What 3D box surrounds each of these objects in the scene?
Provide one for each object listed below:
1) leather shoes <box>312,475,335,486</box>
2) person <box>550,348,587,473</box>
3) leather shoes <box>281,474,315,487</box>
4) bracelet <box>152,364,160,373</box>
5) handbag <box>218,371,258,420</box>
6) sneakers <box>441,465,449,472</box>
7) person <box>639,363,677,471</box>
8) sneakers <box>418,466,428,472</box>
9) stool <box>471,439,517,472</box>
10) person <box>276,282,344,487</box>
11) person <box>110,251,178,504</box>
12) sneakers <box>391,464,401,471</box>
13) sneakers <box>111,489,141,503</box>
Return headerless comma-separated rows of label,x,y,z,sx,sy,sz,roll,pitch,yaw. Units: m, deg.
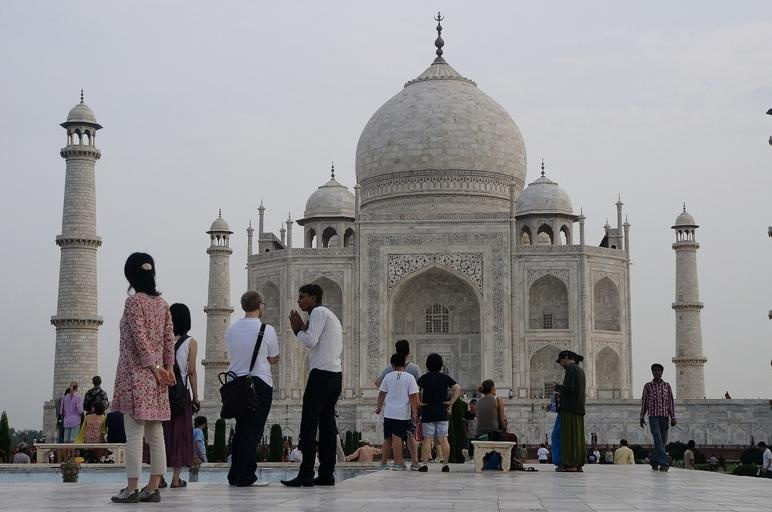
leather shoes,-1.025,3.804,27.646,0.272,0.149,0.157,0,-2,2
person,3.419,2.914,30.654,0.523,2.240,0.539,-2,-10,6
leather shoes,-1.443,3.790,27.546,0.595,0.218,0.188,4,-4,2
bracelet,-3.690,1.841,26.482,0.123,0.104,0.028,9,7,1
handbag,-2.446,2.333,27.316,0.635,0.776,0.319,-4,-10,16
sneakers,1.097,4.003,30.685,0.093,0.088,0.122,2,7,6
person,5.170,3.144,31.563,0.610,2.002,0.925,-3,-10,8
sneakers,0.682,3.976,30.560,0.177,0.117,0.277,-1,-9,-2
stool,2.027,3.802,31.069,0.784,0.608,0.666,-2,-9,4
person,-1.172,2.164,27.824,0.848,3.490,0.970,-1,-10,-3
person,-3.859,1.977,26.540,0.945,4.028,0.654,5,-12,-33
sneakers,0.182,3.948,30.464,0.193,0.118,0.204,-3,-9,11
sneakers,-4.106,3.845,26.099,0.438,0.229,0.292,0,-9,-7
